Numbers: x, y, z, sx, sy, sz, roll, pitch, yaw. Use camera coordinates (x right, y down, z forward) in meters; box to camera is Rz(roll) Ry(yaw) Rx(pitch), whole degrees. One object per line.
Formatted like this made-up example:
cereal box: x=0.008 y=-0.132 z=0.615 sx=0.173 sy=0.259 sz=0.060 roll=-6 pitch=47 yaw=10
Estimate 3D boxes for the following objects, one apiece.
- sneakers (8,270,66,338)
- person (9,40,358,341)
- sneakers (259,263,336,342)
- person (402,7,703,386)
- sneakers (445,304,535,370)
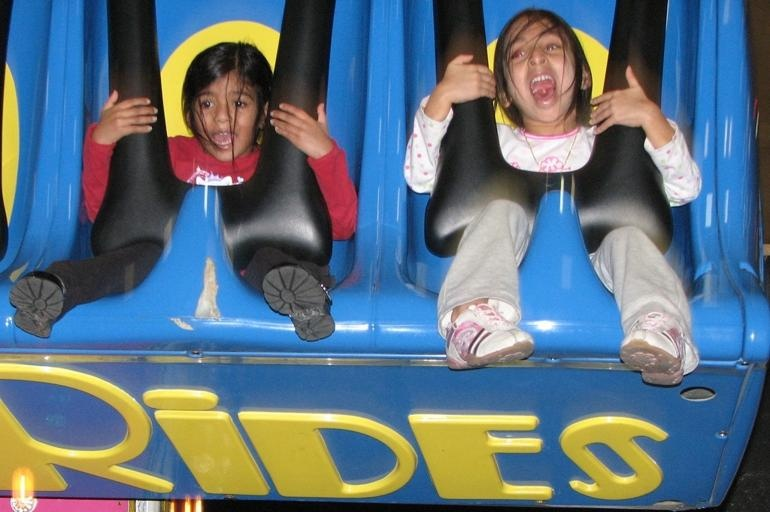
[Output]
sneakers: x=-0.747 y=0.108 z=1.764 sx=0.095 sy=0.148 sz=0.063 roll=8 pitch=36 yaw=-9
person: x=-0.455 y=-0.217 z=2.079 sx=0.762 sy=0.781 sz=0.676 roll=-2 pitch=0 yaw=-4
sneakers: x=-0.186 y=0.098 z=1.768 sx=0.106 sy=0.190 sz=0.074 roll=-19 pitch=31 yaw=14
person: x=0.424 y=-0.204 z=2.017 sx=0.748 sy=0.970 sz=0.641 roll=-2 pitch=0 yaw=0
sneakers: x=0.224 y=0.172 z=1.742 sx=0.106 sy=0.095 sz=0.187 roll=4 pitch=-15 yaw=-34
